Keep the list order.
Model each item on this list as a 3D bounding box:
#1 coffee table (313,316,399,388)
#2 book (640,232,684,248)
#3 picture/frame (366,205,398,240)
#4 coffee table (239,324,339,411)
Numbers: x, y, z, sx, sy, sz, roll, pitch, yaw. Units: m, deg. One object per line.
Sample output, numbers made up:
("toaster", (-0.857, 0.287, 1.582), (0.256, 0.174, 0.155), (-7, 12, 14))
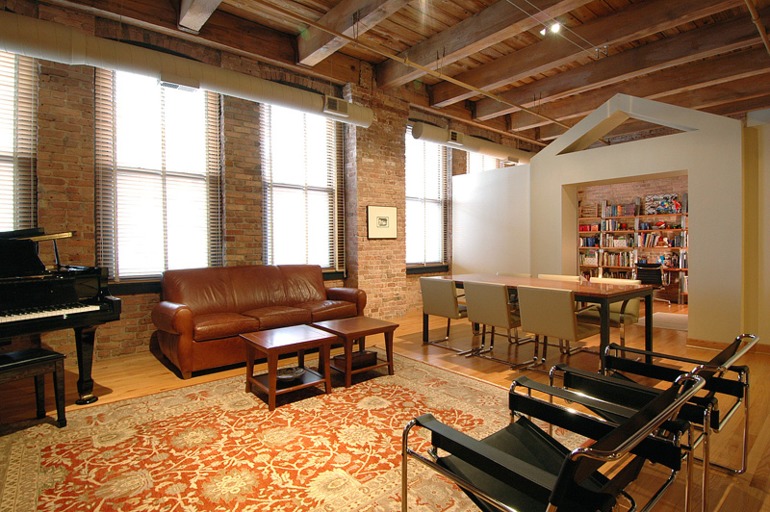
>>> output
("coffee table", (-0.412, 1.177, 6.442), (0.877, 0.553, 0.976), (0, 4, 45))
("book", (5.995, -0.368, 11.157), (0.923, 0.348, 0.261), (1, 6, 33))
("picture/frame", (-0.046, -0.581, 8.961), (0.136, 0.593, 0.693), (3, 7, 41))
("coffee table", (-1.140, 1.268, 6.065), (0.950, 0.540, 0.862), (-1, 2, -34))
